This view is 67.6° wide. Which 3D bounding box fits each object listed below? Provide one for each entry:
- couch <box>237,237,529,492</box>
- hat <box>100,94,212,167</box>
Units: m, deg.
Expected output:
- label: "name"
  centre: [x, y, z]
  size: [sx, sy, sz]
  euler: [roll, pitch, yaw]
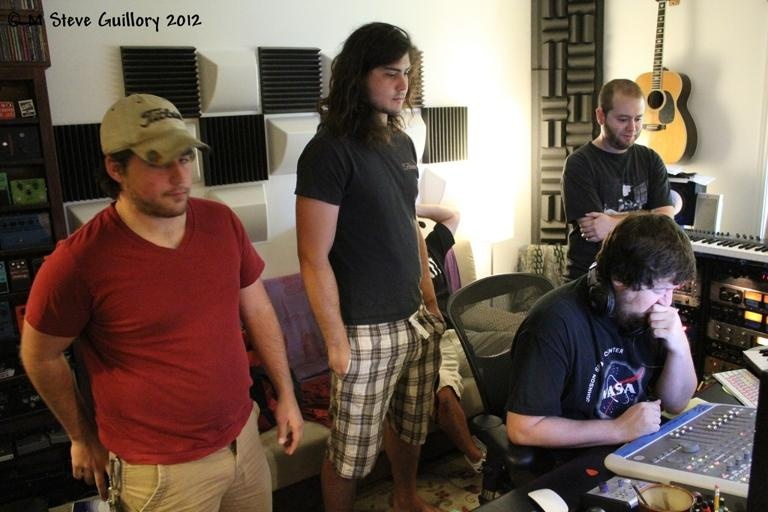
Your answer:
- label: "couch"
  centre: [-0.014, 0.575, 2.735]
  size: [0.712, 0.930, 1.344]
  euler: [6, 11, 44]
- label: "hat"
  centre: [-0.797, -0.439, 2.013]
  size: [0.322, 0.184, 0.229]
  euler: [0, 15, 17]
